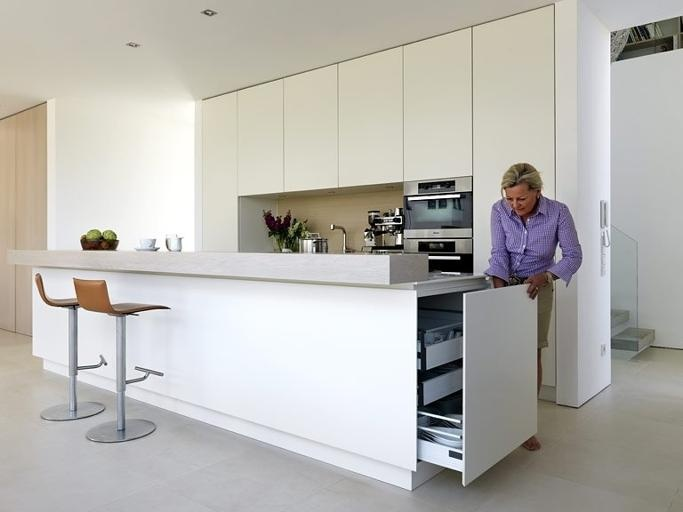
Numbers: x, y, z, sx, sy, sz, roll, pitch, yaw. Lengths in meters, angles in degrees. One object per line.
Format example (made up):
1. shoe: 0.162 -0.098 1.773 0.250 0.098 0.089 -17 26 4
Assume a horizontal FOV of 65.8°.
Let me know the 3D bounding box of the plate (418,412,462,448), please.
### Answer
1. plate: 0.539 0.932 2.827 0.184 0.046 0.201 -1 1 27

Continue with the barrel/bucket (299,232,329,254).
1. barrel/bucket: -0.353 -0.135 5.881 0.309 0.220 0.303 1 0 0

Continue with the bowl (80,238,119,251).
1. bowl: -2.016 -0.095 4.386 0.174 0.055 0.172 -1 -3 0

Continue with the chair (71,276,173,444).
1. chair: -1.503 0.657 3.690 0.588 1.065 0.698 -4 9 -26

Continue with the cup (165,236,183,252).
1. cup: -1.223 -0.093 3.852 0.105 0.117 0.161 0 1 -2

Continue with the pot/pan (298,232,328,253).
1. pot/pan: -0.345 -0.143 5.880 0.266 0.189 0.263 0 1 -34

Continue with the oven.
1. oven: 0.886 -0.164 4.871 0.619 1.012 0.357 -2 -22 13

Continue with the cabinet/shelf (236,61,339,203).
1. cabinet/shelf: -0.559 -1.391 5.699 1.364 1.153 0.447 -1 -1 36

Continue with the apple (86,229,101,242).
1. apple: -2.100 -0.177 4.423 0.139 0.104 0.141 2 0 -11

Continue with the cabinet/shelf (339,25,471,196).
1. cabinet/shelf: 0.627 -1.373 4.850 1.485 1.270 0.479 1 1 34

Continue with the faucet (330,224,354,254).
1. faucet: 0.055 -0.203 5.834 0.233 0.393 0.320 -1 -2 35

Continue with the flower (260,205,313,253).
1. flower: -0.592 -0.273 6.285 0.510 0.492 0.557 2 -5 -32

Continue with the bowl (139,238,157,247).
1. bowl: -1.484 -0.123 4.054 0.107 0.080 0.115 -2 -5 0

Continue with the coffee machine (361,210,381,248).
1. coffee machine: 0.328 -0.273 5.517 0.174 0.402 0.256 1 8 3
